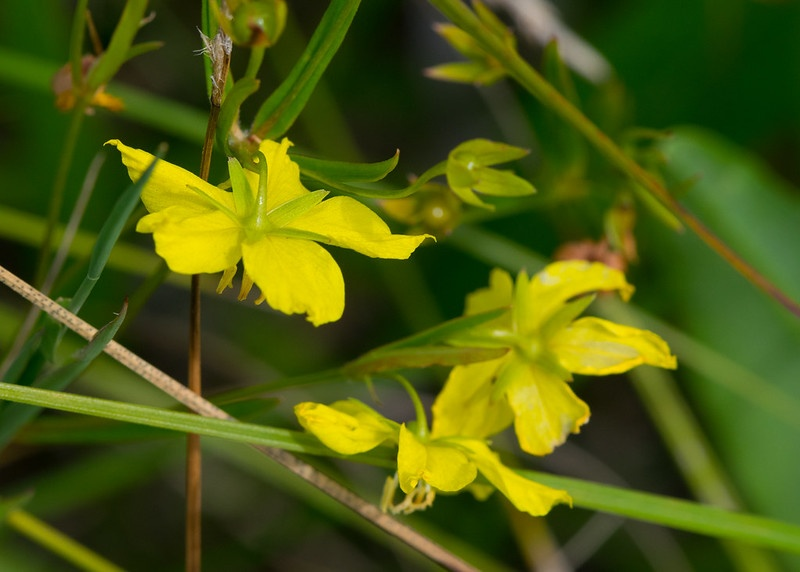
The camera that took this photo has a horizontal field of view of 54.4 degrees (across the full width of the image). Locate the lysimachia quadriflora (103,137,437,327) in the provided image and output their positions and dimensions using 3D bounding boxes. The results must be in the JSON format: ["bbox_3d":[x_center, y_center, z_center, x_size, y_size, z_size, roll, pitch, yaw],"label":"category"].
[{"bbox_3d":[-0.198,-0.082,1.046,0.375,0.307,0.195,16,-84,12],"label":"lysimachia quadriflora"}]

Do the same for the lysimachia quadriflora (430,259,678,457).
[{"bbox_3d":[0.173,0.096,1.075,0.298,0.338,0.117,-15,-73,-27],"label":"lysimachia quadriflora"}]
